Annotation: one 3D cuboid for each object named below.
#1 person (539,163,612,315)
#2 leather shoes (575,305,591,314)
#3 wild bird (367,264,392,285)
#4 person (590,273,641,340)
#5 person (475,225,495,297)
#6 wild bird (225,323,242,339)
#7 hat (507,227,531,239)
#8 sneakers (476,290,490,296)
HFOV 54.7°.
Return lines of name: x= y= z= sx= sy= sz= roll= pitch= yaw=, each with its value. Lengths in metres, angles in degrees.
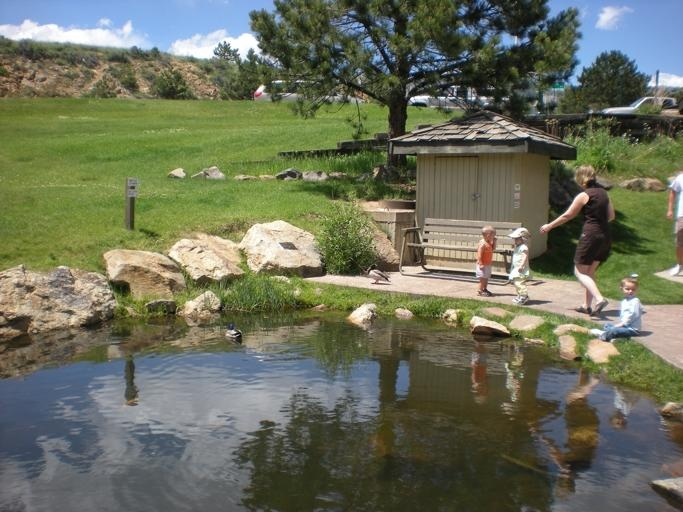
person: x=4.770 y=-0.248 z=12.906 sx=0.978 sy=2.947 sz=0.733 roll=6 pitch=15 yaw=23
leather shoes: x=4.834 y=1.072 z=13.184 sx=0.117 sy=0.128 sz=0.298 roll=-5 pitch=13 yaw=-37
wild bird: x=0.837 y=0.475 z=15.936 sx=0.672 sy=0.453 sz=0.294 roll=4 pitch=-3 yaw=12
person: x=5.017 y=0.919 z=11.945 sx=0.916 sy=1.159 sz=0.713 roll=2 pitch=1 yaw=18
person: x=3.212 y=0.120 z=14.758 sx=0.351 sy=1.520 sz=0.569 roll=3 pitch=15 yaw=12
wild bird: x=-2.072 y=1.470 z=12.874 sx=0.224 sy=0.312 sz=0.412 roll=1 pitch=10 yaw=-28
hat: x=3.786 y=-0.470 z=14.087 sx=0.438 sy=0.242 sz=0.305 roll=-3 pitch=5 yaw=-1
sneakers: x=3.189 y=0.841 z=14.771 sx=0.262 sy=0.133 sz=0.119 roll=1 pitch=5 yaw=11
